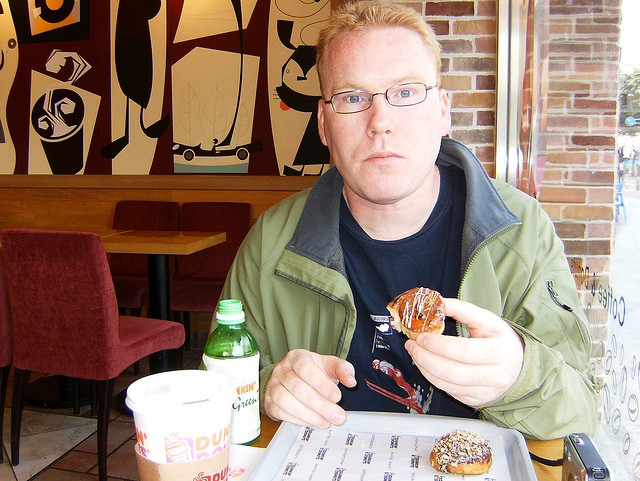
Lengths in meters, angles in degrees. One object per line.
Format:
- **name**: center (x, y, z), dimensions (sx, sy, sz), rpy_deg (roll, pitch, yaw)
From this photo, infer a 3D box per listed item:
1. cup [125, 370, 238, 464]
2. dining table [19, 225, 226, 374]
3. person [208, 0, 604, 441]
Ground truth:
- **cup**: center (-0.260, 0.331, 0.995), dimensions (0.162, 0.138, 0.166), rpy_deg (0, 9, 0)
- **dining table**: center (-0.997, 0.252, 3.223), dimensions (0.641, 0.518, 0.649), rpy_deg (-1, 6, 22)
- **person**: center (0.214, -0.072, 1.450), dimensions (0.950, 1.183, 0.689), rpy_deg (-3, 11, -7)
